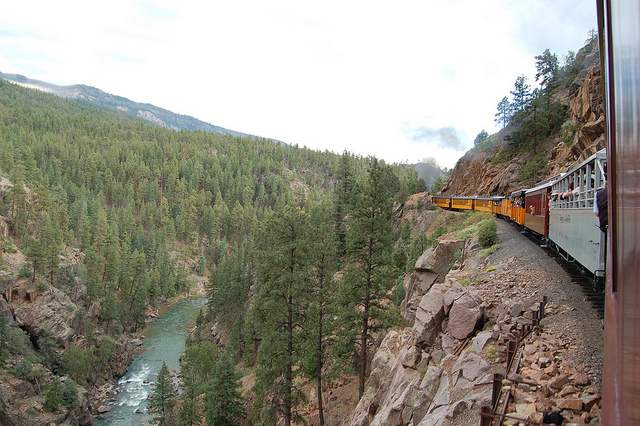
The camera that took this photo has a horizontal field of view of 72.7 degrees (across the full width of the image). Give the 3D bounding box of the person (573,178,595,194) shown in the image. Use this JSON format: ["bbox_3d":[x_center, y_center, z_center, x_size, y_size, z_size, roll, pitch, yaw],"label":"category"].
[{"bbox_3d":[19.356,-1.806,31.846,1.195,1.273,0.304,2,11,28],"label":"person"}]
